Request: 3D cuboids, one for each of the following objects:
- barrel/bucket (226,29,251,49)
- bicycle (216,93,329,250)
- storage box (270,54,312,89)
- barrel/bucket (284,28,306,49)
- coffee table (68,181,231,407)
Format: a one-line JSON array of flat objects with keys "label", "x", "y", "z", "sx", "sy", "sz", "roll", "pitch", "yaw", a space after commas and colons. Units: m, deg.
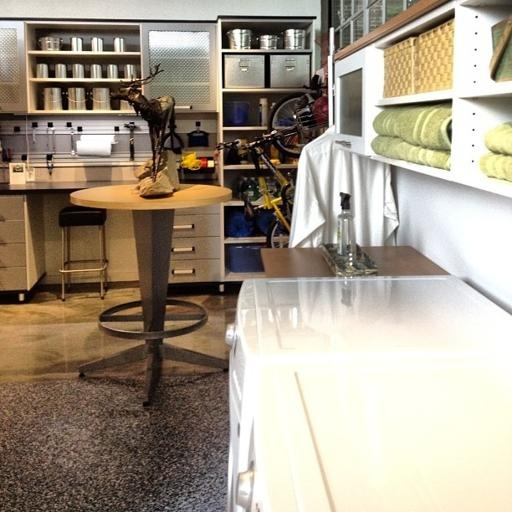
[{"label": "barrel/bucket", "x": -0.147, "y": -1.920, "z": 4.321, "sx": 0.197, "sy": 0.203, "sz": 0.188, "roll": 1, "pitch": 15, "yaw": 0}, {"label": "bicycle", "x": 0.140, "y": -0.725, "z": 4.167, "sx": 0.817, "sy": 1.348, "sz": 1.184, "roll": 2, "pitch": 15, "yaw": 2}, {"label": "storage box", "x": 0.291, "y": -1.676, "z": 4.523, "sx": 0.575, "sy": 0.341, "sz": 0.299, "roll": 0, "pitch": 17, "yaw": -2}, {"label": "barrel/bucket", "x": 0.350, "y": -1.936, "z": 4.358, "sx": 0.229, "sy": 0.136, "sz": 0.161, "roll": -6, "pitch": 17, "yaw": -26}, {"label": "coffee table", "x": -0.636, "y": 0.167, "z": 2.917, "sx": 1.039, "sy": 1.039, "sz": 1.019, "roll": 4, "pitch": -7, "yaw": -37}]
